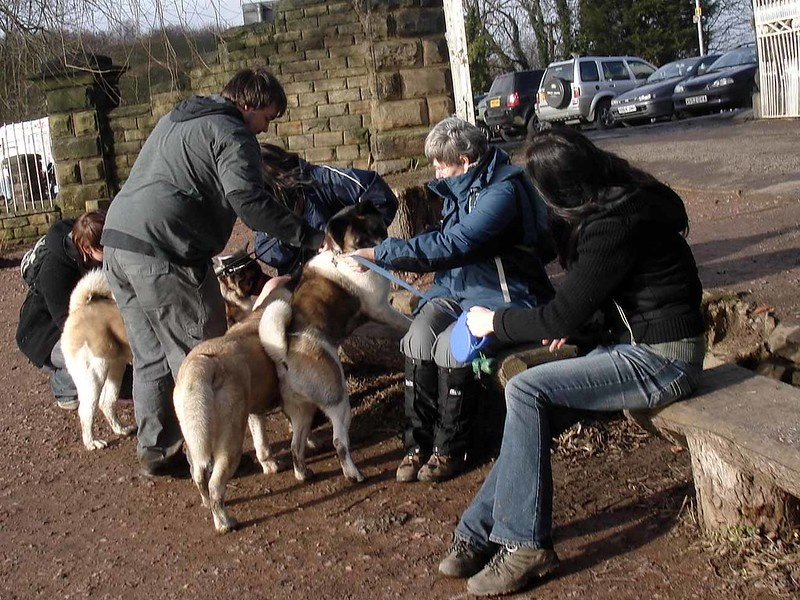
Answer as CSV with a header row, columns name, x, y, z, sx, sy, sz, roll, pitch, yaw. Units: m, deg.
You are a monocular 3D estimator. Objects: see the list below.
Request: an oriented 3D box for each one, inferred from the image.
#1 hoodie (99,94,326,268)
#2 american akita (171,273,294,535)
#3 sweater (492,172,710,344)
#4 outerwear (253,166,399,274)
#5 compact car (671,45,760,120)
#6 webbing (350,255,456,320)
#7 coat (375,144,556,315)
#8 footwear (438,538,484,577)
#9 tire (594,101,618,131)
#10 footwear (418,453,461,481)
name,x,y,z,sx,sy,sz,roll,pitch,yaw
hoodie,-1.233,-0.397,4.336,1.339,1.117,0.982,29,15,38
american akita,-1.012,0.689,4.305,0.333,1.152,1.366,-1,9,11
sweater,1.095,-0.154,3.648,0.997,0.932,0.900,-1,-5,1
outerwear,-0.748,-0.695,5.031,0.822,0.834,0.477,-11,-2,-18
compact car,8.473,-5.793,17.554,2.023,1.538,1.206,-6,13,18
webbing,-0.004,-0.139,4.428,0.749,0.289,0.030,40,34,-5
coat,0.455,-0.448,4.446,1.082,1.304,1.025,-5,9,-13
footwear,0.329,1.348,3.448,0.117,0.169,0.314,-9,-17,31
tire,5.971,-5.377,18.988,0.836,1.122,0.339,-6,5,-13
footwear,0.269,1.073,4.328,0.255,0.153,0.138,1,0,-30
